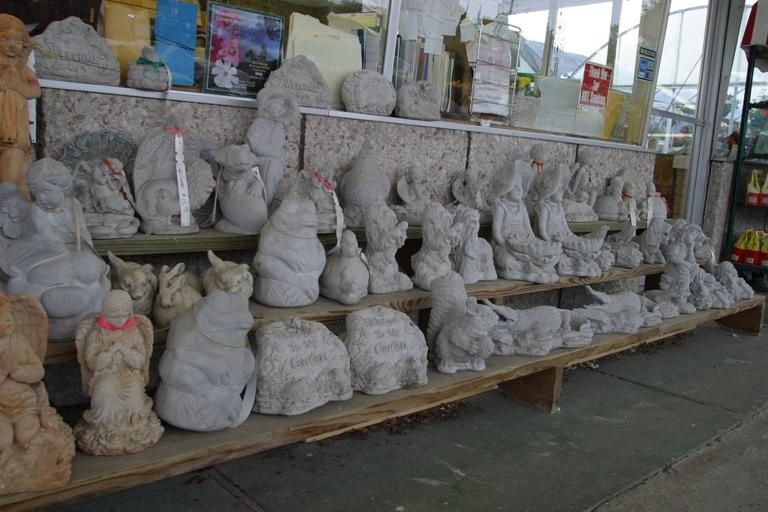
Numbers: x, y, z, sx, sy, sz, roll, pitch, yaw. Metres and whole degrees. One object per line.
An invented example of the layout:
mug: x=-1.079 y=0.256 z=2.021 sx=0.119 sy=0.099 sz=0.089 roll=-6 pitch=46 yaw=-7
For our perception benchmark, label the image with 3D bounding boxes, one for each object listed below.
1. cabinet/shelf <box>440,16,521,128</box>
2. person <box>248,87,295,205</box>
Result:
cabinet/shelf: x=0.835 y=-1.578 z=5.018 sx=0.472 sy=0.745 sz=0.447 roll=-1 pitch=17 yaw=-22
person: x=-0.718 y=-0.688 z=3.604 sx=0.262 sy=0.694 sz=0.271 roll=9 pitch=16 yaw=16
